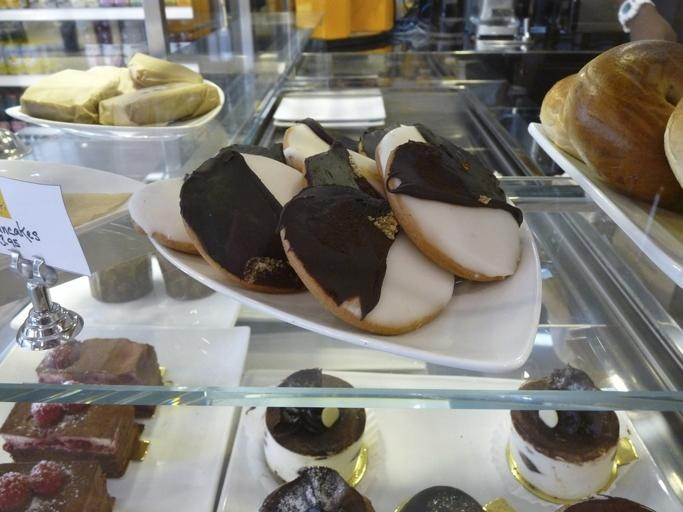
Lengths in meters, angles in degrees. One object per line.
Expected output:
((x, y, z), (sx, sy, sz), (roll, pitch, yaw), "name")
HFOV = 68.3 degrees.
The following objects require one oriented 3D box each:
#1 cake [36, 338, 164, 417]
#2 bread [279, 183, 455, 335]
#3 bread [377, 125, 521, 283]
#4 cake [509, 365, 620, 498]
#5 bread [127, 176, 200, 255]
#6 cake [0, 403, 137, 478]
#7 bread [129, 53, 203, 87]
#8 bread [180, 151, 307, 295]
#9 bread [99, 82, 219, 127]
((-0.247, 0.110, 0.502), (0.109, 0.032, 0.084), (4, 19, -35), "cake")
((0.023, 0.003, 0.457), (0.144, 0.099, 0.102), (13, 31, 23), "bread")
((0.122, -0.064, 0.542), (0.169, 0.064, 0.219), (20, 35, -16), "bread")
((0.278, 0.210, 0.623), (0.116, 0.126, 0.122), (15, 42, 33), "cake")
((-0.183, -0.041, 0.511), (0.071, 0.024, 0.077), (-28, 64, -41), "bread")
((-0.327, 0.222, 0.604), (0.132, 0.064, 0.102), (2, 33, 0), "cake")
((-0.333, -0.346, 0.943), (0.104, 0.040, 0.089), (5, 29, -3), "bread")
((-0.099, -0.041, 0.485), (0.119, 0.041, 0.134), (-28, 69, -35), "bread")
((-0.314, -0.260, 0.886), (0.142, 0.047, 0.100), (-11, 13, -6), "bread")
